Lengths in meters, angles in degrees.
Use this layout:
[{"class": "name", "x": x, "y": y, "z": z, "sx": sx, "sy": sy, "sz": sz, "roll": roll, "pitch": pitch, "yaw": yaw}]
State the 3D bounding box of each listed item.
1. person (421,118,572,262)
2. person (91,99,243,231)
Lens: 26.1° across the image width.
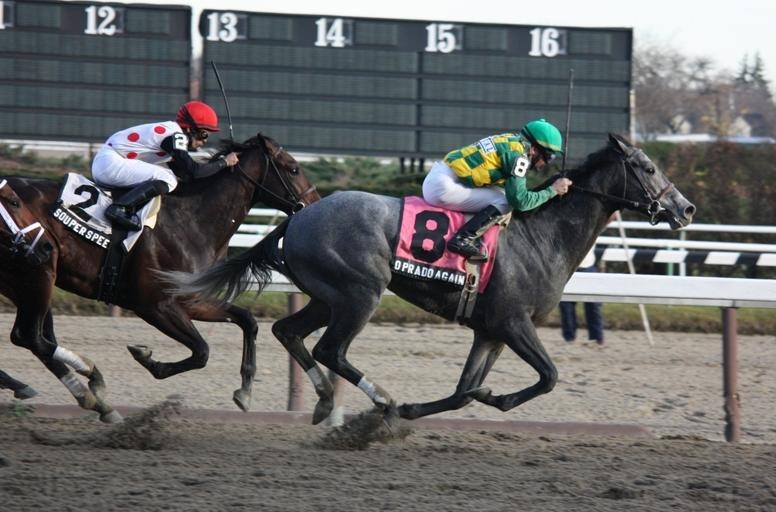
[{"class": "person", "x": 0.846, "y": -0.481, "z": 13.655, "sx": 1.131, "sy": 1.044, "sz": 0.501, "roll": 1, "pitch": 9, "yaw": -2}, {"class": "person", "x": -1.961, "y": -0.843, "z": 14.305, "sx": 1.315, "sy": 0.897, "sz": 0.775, "roll": 0, "pitch": 7, "yaw": -16}]
